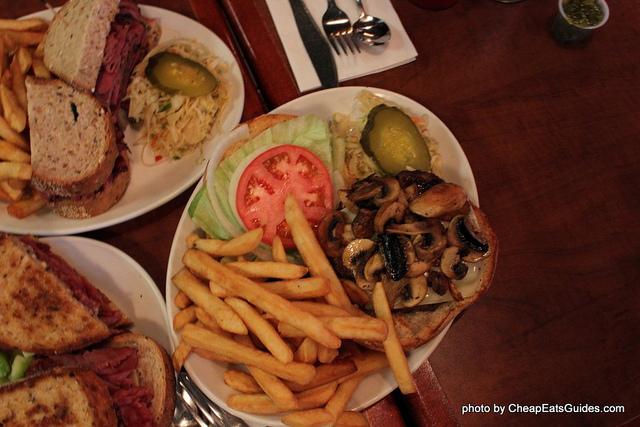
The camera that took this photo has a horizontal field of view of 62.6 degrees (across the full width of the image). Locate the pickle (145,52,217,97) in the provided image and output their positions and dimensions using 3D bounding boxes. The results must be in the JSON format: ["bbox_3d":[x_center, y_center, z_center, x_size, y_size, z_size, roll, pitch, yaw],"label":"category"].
[{"bbox_3d":[-0.830,-0.826,3.166,0.374,0.231,0.091,9,-4,-9],"label":"pickle"}]

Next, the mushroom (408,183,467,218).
[{"bbox_3d":[0.585,-0.064,2.619,0.284,0.132,0.049,-20,-12,4],"label":"mushroom"}]

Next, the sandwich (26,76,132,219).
[{"bbox_3d":[-1.390,-0.379,2.979,0.567,0.754,0.218,-5,-1,-8],"label":"sandwich"}]

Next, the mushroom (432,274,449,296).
[{"bbox_3d":[0.606,0.353,2.637,0.071,0.093,0.030,-3,10,0],"label":"mushroom"}]

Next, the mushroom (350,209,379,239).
[{"bbox_3d":[0.228,0.049,2.690,0.193,0.133,0.045,-59,-24,-28],"label":"mushroom"}]

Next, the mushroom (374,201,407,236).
[{"bbox_3d":[0.347,0.014,2.624,0.177,0.131,0.051,-50,1,10],"label":"mushroom"}]

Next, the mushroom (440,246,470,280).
[{"bbox_3d":[0.665,0.239,2.621,0.155,0.153,0.049,-21,20,-26],"label":"mushroom"}]

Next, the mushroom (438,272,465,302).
[{"bbox_3d":[0.662,0.362,2.643,0.044,0.160,0.031,-31,-14,-10],"label":"mushroom"}]
